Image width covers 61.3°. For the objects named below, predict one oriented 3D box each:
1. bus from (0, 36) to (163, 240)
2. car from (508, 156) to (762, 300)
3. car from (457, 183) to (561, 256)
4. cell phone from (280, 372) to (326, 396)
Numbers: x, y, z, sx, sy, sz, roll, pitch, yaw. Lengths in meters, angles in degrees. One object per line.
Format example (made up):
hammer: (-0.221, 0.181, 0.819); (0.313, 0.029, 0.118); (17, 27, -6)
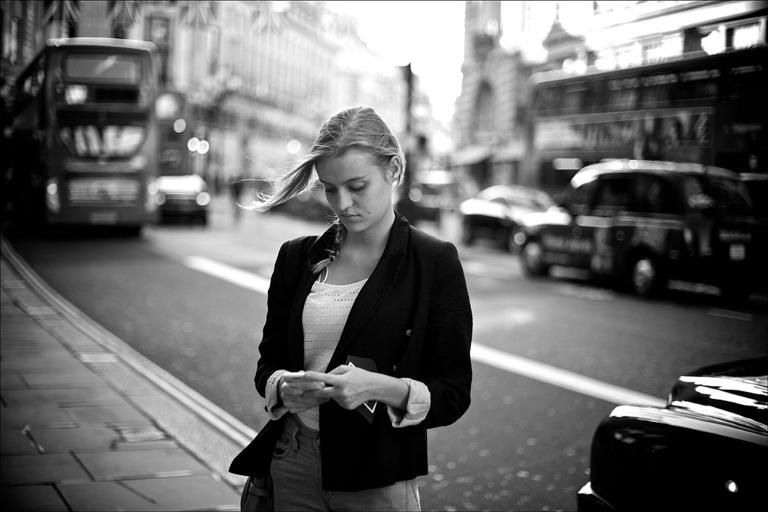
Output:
bus: (-2.459, -0.974, 5.317); (1.146, 1.603, 0.575); (-1, 8, -26)
car: (2.118, -0.310, 5.773); (0.785, 1.037, 2.400); (-6, 8, -26)
car: (1.438, -0.416, 7.306); (0.922, 0.696, 1.998); (-2, 2, -29)
cell phone: (-0.303, 0.461, 2.344); (0.104, 0.028, 0.107); (-5, -31, 19)
